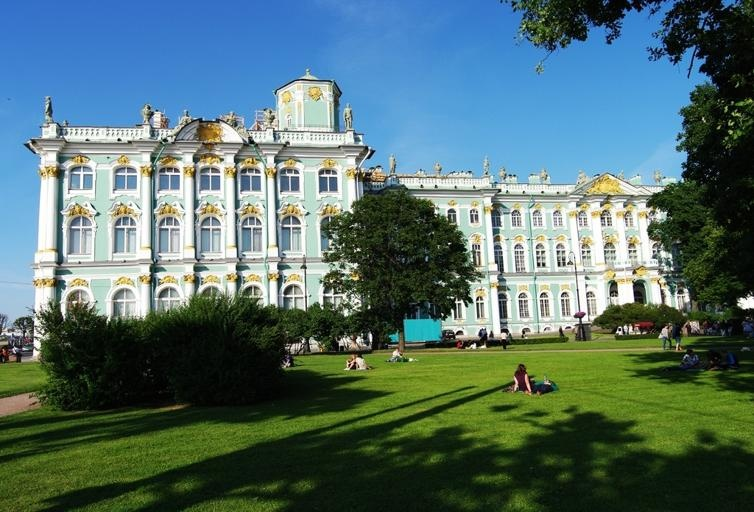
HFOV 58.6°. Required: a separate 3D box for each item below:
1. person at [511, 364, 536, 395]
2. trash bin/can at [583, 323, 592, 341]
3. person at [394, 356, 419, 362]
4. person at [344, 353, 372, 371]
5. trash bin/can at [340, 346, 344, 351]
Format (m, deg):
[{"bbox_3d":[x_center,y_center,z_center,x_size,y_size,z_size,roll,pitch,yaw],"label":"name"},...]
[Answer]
[{"bbox_3d":[5.115,4.292,23.540,0.721,1.003,1.108,1,-9,-28],"label":"person"},{"bbox_3d":[16.205,5.851,52.185,0.516,1.209,1.217,-5,-8,11],"label":"trash bin/can"},{"bbox_3d":[1.651,5.696,37.284,1.249,0.281,1.717,-6,-8,20],"label":"person"},{"bbox_3d":[-1.055,5.216,32.812,1.293,0.704,0.790,-5,-12,31],"label":"person"},{"bbox_3d":[-2.539,6.867,50.153,0.324,0.287,0.165,-1,0,-6],"label":"trash bin/can"}]
